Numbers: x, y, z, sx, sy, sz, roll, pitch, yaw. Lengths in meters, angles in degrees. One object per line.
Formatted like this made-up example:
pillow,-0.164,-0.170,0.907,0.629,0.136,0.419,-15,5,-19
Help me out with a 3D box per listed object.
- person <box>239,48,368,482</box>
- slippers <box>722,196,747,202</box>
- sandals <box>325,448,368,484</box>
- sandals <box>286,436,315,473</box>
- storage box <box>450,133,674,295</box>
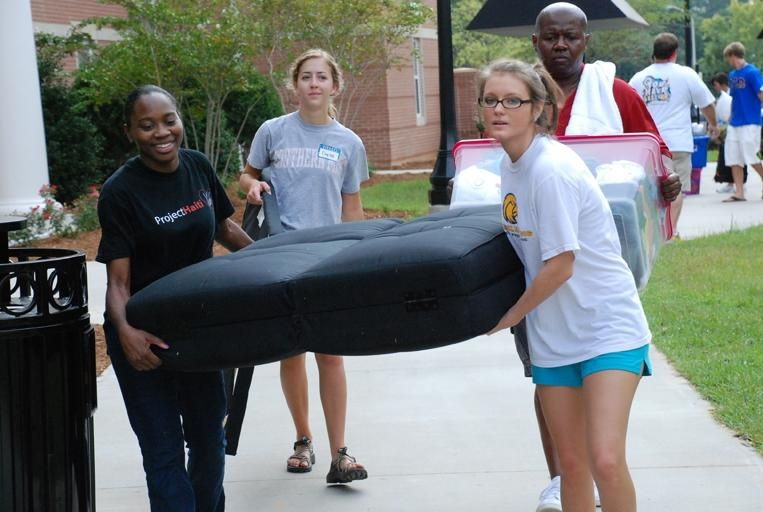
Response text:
person,-0.452,0.032,5.032,0.757,2.685,0.822,-3,8,1
slippers,5.637,-0.950,12.989,0.364,0.109,0.145,1,6,3
sandals,-0.230,1.295,4.904,0.134,0.194,0.313,3,-11,-34
sandals,-0.506,1.270,4.994,0.097,0.131,0.281,-1,-1,5
storage box,1.109,-0.180,4.706,1.200,0.904,0.896,-9,4,23
